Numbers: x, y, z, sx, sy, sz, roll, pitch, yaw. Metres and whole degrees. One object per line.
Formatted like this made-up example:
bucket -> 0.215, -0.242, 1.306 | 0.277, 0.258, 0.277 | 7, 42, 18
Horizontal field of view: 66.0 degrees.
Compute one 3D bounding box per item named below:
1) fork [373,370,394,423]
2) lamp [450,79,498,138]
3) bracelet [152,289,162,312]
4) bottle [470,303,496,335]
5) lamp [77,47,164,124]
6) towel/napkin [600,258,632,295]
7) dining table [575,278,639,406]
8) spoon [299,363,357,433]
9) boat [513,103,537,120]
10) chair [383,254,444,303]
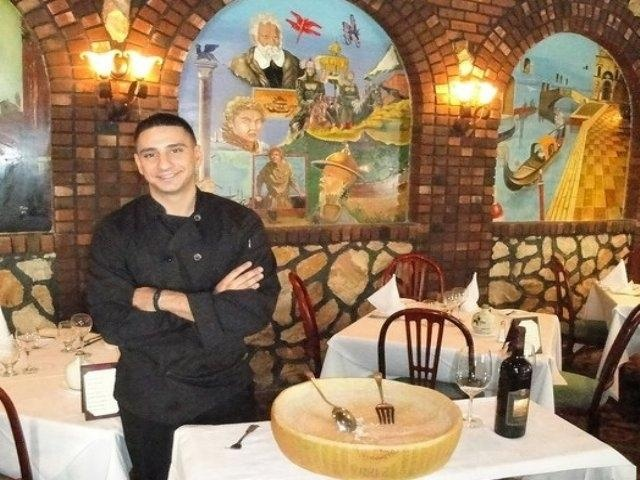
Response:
fork -> 0.245, 0.598, 1.872 | 0.045, 0.027, 0.190 | -3, 41, -1
lamp -> 1.571, -1.363, 5.129 | 0.580, 0.575, 0.136 | -2, 12, -21
bracelet -> -0.704, 0.263, 2.165 | 0.017, 0.074, 0.053 | -1, -17, 7
bottle -> 1.148, 0.560, 3.526 | 0.170, 0.208, 0.175 | 0, 2, 4
lamp -> -1.520, -1.215, 3.820 | 0.595, 0.575, 0.235 | -1, 6, -25
towel/napkin -> 3.059, 0.403, 5.057 | 0.320, 0.369, 0.373 | 19, 11, 38
dining table -> 2.700, 0.862, 4.662 | 0.699, 1.196, 0.334 | 7, -5, 6
spoon -> 0.023, 0.583, 1.891 | 0.087, 0.053, 0.359 | -6, 29, -25
boat -> 2.424, -1.521, 5.824 | 0.339, 0.135, 0.197 | -11, 13, -19
chair -> 0.965, 0.366, 4.894 | 0.567, 0.765, 0.535 | 1, -3, -6
